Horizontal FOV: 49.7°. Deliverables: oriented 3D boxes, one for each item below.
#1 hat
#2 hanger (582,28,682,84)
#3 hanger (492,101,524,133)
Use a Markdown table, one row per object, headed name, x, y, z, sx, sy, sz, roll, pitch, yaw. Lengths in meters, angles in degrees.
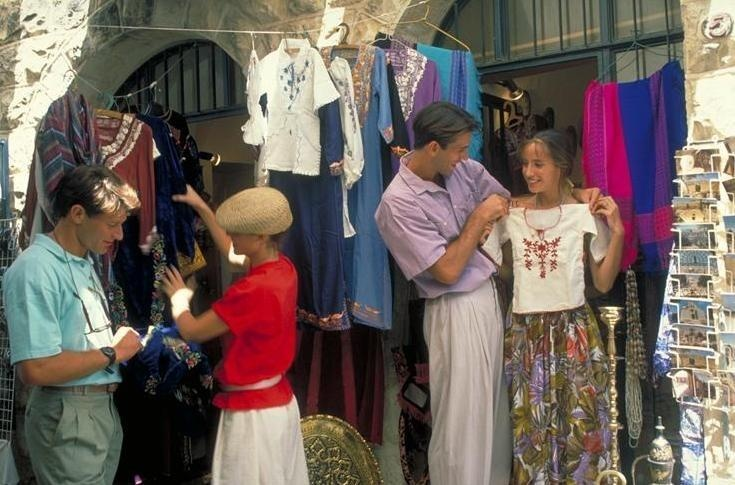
| name | x | y | z | sx | sy | sz | roll | pitch | yaw |
| --- | --- | --- | --- | --- | --- | --- | --- | --- | --- |
| hat | -0.629 | -0.169 | 4.322 | 0.271 | 0.114 | 0.304 | 17 | 22 | 23 |
| hanger | 1.761 | -1.204 | 5.164 | 0.538 | 0.265 | 0.175 | -4 | -4 | 20 |
| hanger | 1.164 | -1.041 | 6.648 | 0.029 | 0.259 | 0.312 | 1 | 6 | 38 |
